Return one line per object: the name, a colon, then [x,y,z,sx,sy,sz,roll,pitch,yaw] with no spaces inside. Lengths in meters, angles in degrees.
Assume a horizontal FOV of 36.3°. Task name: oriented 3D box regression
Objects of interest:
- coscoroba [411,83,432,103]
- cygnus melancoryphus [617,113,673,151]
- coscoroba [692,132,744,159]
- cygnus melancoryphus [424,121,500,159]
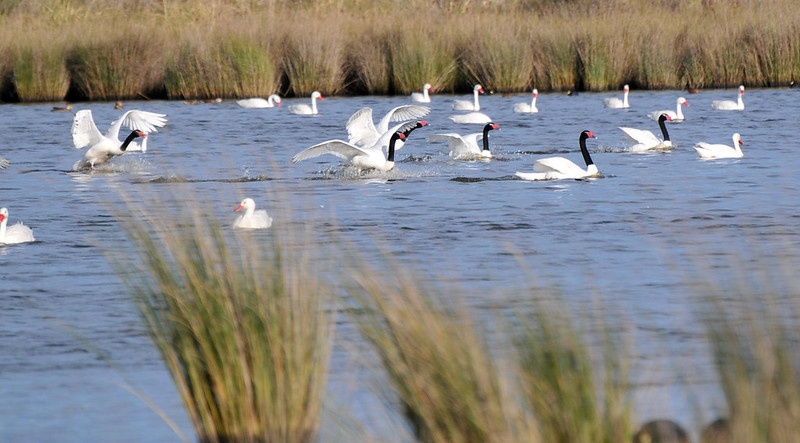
coscoroba: [0.641,-3.826,36.934,0.576,0.438,0.557,-3,2,1]
cygnus melancoryphus: [6.126,-2.034,29.411,1.072,0.920,1.133,-8,-13,24]
coscoroba: [7.470,-1.682,27.984,1.202,0.634,0.604,1,9,-14]
cygnus melancoryphus: [1.512,-1.733,28.231,1.202,0.732,1.328,12,17,28]
